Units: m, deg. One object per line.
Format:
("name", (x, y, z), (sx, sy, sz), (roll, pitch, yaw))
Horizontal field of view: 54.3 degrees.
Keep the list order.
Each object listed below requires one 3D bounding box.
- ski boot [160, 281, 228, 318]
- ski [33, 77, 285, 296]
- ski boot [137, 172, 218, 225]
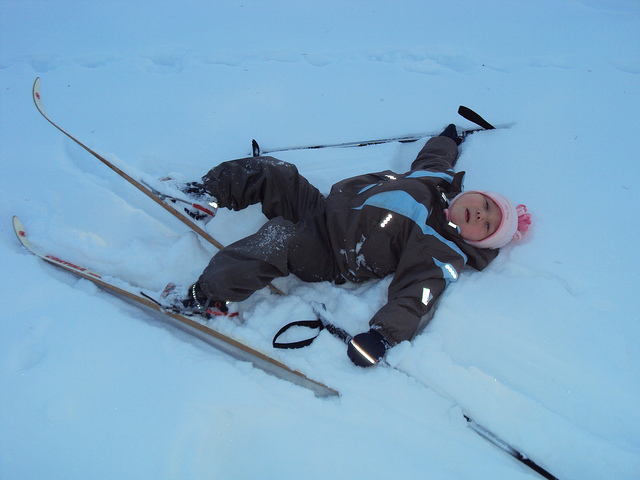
("ski boot", (-0.972, 0.499, 4.791), (0.181, 0.148, 0.335), (12, 22, 17))
("ski", (-1.407, -0.392, 5.236), (2.476, 0.183, 0.285), (44, 34, 6))
("ski boot", (-1.161, -0.341, 5.091), (0.574, 0.138, 0.356), (35, 19, 8))
